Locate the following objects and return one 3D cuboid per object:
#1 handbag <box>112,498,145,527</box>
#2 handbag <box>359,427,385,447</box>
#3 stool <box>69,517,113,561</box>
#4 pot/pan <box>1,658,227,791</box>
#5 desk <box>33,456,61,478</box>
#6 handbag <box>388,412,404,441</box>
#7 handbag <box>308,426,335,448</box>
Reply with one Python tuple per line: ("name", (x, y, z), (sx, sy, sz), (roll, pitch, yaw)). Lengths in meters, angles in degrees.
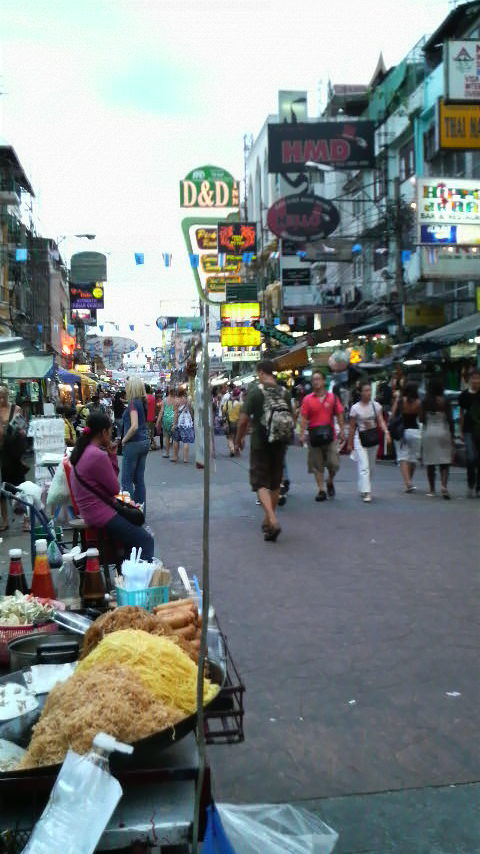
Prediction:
("handbag", (-0.843, 0.646, 4.969), (0.099, 0.154, 0.269), (-39, -35, 11))
("handbag", (2.179, 0.155, 11.022), (0.313, 0.254, 0.195), (-7, -23, -30))
("stool", (-1.162, 0.897, 5.136), (0.333, 0.492, 0.358), (-1, -1, -12))
("pot/pan", (-0.364, 0.758, 1.824), (0.494, 0.312, 0.576), (-2, 3, -18))
("desk", (-2.638, 0.560, 8.954), (0.287, 0.367, 0.800), (-1, 1, -21))
("handbag", (2.774, 0.000, 11.693), (0.162, 0.404, 0.455), (6, 3, 0))
("handbag", (1.285, 0.162, 10.685), (0.439, 0.493, 0.281), (-7, -4, 2))
